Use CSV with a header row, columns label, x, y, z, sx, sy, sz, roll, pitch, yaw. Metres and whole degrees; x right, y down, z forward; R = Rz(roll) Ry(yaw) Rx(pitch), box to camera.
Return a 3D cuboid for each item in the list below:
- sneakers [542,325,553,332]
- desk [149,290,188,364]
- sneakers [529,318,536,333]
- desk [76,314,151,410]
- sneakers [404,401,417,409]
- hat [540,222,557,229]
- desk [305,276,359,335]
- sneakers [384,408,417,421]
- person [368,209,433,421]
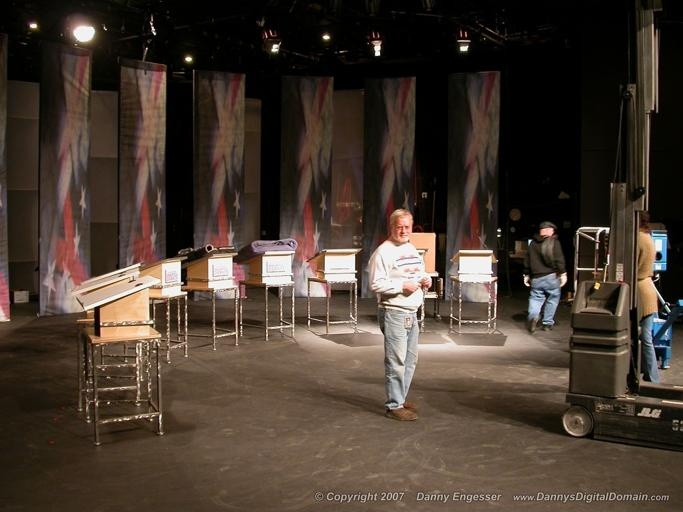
label,x,y,z,sx,sy,sz,roll,pitch,yaw
sneakers,3.392,1.209,10.217,0.105,0.128,0.318,-1,-8,15
desk,-2.483,1.037,8.851,0.419,0.914,1.083,1,0,-6
sneakers,3.034,1.098,9.830,0.091,0.263,0.119,2,6,2
desk,-2.549,1.148,6.879,0.770,1.222,0.734,-4,-7,-29
sneakers,0.709,1.573,6.452,0.133,0.056,0.048,-1,2,0
hat,3.358,-0.508,10.169,0.189,0.072,0.210,1,1,2
desk,-0.257,0.847,11.282,0.621,0.756,0.791,0,-2,-34
sneakers,0.604,1.603,6.238,0.255,0.107,0.127,-4,-2,15
person,0.562,0.594,6.163,0.580,2.099,0.409,1,6,7
